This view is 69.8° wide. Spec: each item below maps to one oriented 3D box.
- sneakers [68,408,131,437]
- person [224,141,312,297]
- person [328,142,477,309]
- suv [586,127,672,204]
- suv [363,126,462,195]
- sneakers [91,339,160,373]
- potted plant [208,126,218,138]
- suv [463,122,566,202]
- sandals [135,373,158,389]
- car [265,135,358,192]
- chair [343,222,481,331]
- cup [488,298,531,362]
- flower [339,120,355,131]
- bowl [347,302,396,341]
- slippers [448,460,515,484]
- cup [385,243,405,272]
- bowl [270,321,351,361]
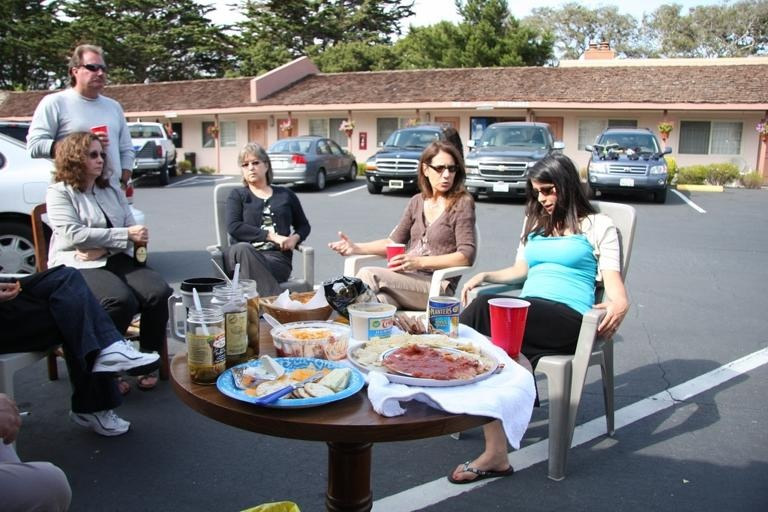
[{"bbox_3d":[-2.041,1.161,3.992,0.448,0.199,0.169,9,18,-2],"label":"sneakers"},{"bbox_3d":[-1.201,-0.394,5.252,0.807,1.349,0.986,-1,11,4],"label":"person"},{"bbox_3d":[0.326,-0.289,5.320,1.558,1.914,1.178,-1,7,-19],"label":"person"},{"bbox_3d":[6.291,-2.412,14.116,1.637,1.316,2.904,1,6,16],"label":"suv"},{"bbox_3d":[0.230,-2.669,14.804,1.925,1.591,3.820,2,9,17],"label":"suv"},{"bbox_3d":[-1.559,0.621,3.295,0.412,0.163,0.254,8,14,41],"label":"sneakers"},{"bbox_3d":[-7.946,-5.772,25.535,0.516,0.539,1.026,-5,11,-17],"label":"potted plant"},{"bbox_3d":[3.027,-2.457,13.758,2.339,1.653,3.753,2,10,18],"label":"suv"},{"bbox_3d":[-1.957,1.011,4.500,0.128,0.134,0.360,1,-5,-21],"label":"sandals"},{"bbox_3d":[-2.368,-2.940,17.554,1.842,1.280,4.217,3,12,21],"label":"car"},{"bbox_3d":[0.117,0.074,4.316,0.779,0.983,0.771,19,33,40],"label":"chair"},{"bbox_3d":[0.667,0.388,2.958,0.307,0.303,0.289,1,2,0],"label":"cup"},{"bbox_3d":[-1.589,-5.620,23.620,0.752,0.691,0.268,1,-10,-4],"label":"flower"},{"bbox_3d":[-0.072,0.330,2.993,0.213,0.123,0.212,-1,6,0],"label":"bowl"},{"bbox_3d":[0.623,1.352,3.541,0.383,0.090,0.143,0,4,-10],"label":"slippers"},{"bbox_3d":[0.084,0.004,4.319,0.126,0.234,0.270,-2,11,0],"label":"cup"},{"bbox_3d":[-0.399,0.442,2.872,0.402,0.130,0.406,1,6,0],"label":"bowl"}]
